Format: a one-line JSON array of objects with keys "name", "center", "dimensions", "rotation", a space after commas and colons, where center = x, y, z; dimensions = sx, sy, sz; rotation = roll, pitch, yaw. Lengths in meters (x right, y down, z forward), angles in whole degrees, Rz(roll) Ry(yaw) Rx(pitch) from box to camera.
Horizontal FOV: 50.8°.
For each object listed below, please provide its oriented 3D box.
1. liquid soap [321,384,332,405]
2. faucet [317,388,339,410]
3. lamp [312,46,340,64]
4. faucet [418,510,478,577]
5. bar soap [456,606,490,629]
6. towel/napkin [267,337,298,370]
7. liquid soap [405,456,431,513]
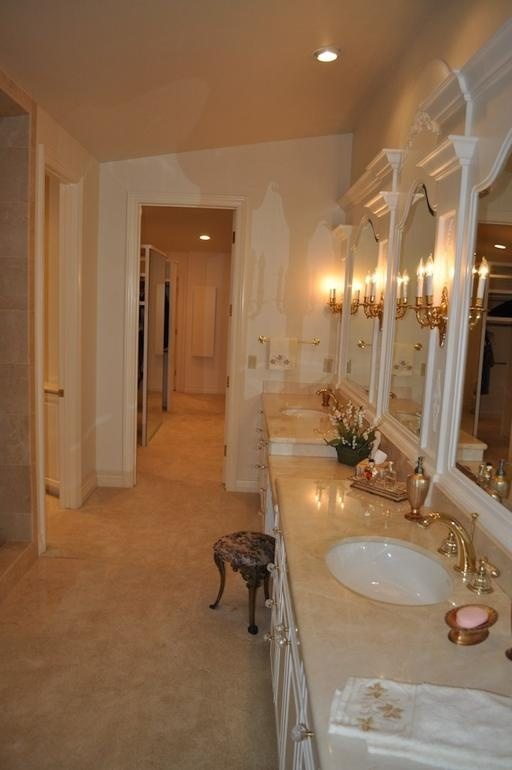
[{"name": "liquid soap", "center": [0.502, 0.060, 3.922], "dimensions": [0.092, 0.135, 0.131], "rotation": [1, 21, 5]}, {"name": "faucet", "center": [0.533, 0.083, 3.948], "dimensions": [0.080, 0.124, 0.237], "rotation": [4, 15, 14]}, {"name": "lamp", "center": [0.344, -1.609, 2.637], "dimensions": [0.116, 0.042, 0.229], "rotation": [5, 5, 5]}, {"name": "faucet", "center": [0.467, 0.378, 1.292], "dimensions": [0.167, 0.138, 0.087], "rotation": [0, 7, -36]}, {"name": "bar soap", "center": [0.401, 0.433, 1.006], "dimensions": [0.055, 0.028, 0.058], "rotation": [7, 6, 23]}, {"name": "towel/napkin", "center": [0.205, -0.244, 4.289], "dimensions": [0.233, 0.262, 0.084], "rotation": [5, 6, 3]}, {"name": "liquid soap", "center": [0.528, 0.318, 1.761], "dimensions": [0.063, 0.207, 0.263], "rotation": [6, 6, 19]}]
